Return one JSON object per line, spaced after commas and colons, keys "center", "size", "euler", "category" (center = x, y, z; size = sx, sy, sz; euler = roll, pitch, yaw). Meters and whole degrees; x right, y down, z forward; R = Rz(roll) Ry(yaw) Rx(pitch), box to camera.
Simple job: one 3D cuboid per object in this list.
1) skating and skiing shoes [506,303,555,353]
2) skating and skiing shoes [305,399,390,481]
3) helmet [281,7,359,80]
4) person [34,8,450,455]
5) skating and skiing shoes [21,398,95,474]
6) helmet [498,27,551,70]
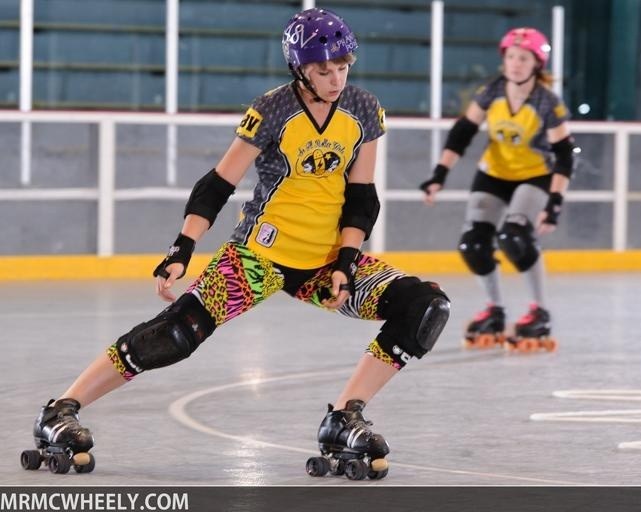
{"center": [1.097, 0.373, 5.207], "size": [0.278, 0.229, 0.224], "euler": [-1, 5, -36], "category": "skating and skiing shoes"}
{"center": [0.106, 0.571, 3.031], "size": [0.191, 0.204, 0.318], "euler": [5, -9, -32], "category": "skating and skiing shoes"}
{"center": [-0.043, -0.651, 3.076], "size": [0.209, 0.204, 0.240], "euler": [-20, 8, -18], "category": "helmet"}
{"center": [-0.136, -0.081, 3.095], "size": [1.137, 1.427, 0.511], "euler": [7, 5, 6], "category": "person"}
{"center": [-0.791, 0.556, 2.971], "size": [0.153, 0.176, 0.326], "euler": [8, -11, -37], "category": "skating and skiing shoes"}
{"center": [1.071, -1.093, 5.121], "size": [0.240, 0.223, 0.271], "euler": [7, 4, 5], "category": "helmet"}
